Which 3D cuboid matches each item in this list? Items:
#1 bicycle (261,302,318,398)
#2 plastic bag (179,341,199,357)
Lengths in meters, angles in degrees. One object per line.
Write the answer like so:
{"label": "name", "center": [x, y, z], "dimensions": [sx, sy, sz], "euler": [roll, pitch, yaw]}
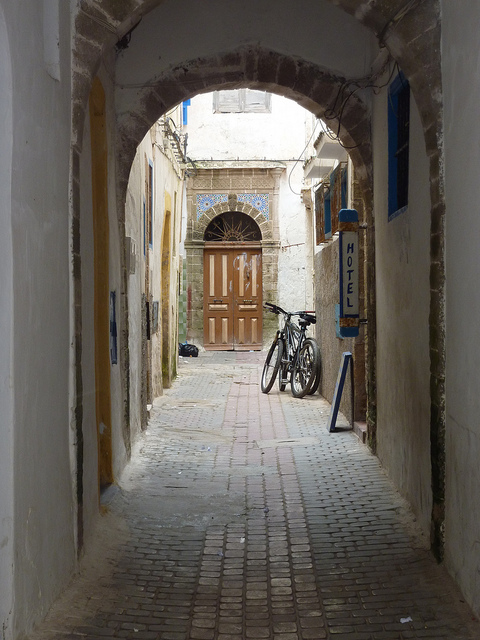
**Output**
{"label": "bicycle", "center": [0.908, 0.553, 9.323], "dimensions": [0.728, 1.498, 1.762], "euler": [14, 5, 37]}
{"label": "plastic bag", "center": [-1.392, 0.831, 14.620], "dimensions": [0.533, 0.328, 0.422], "euler": [-1, -1, -10]}
